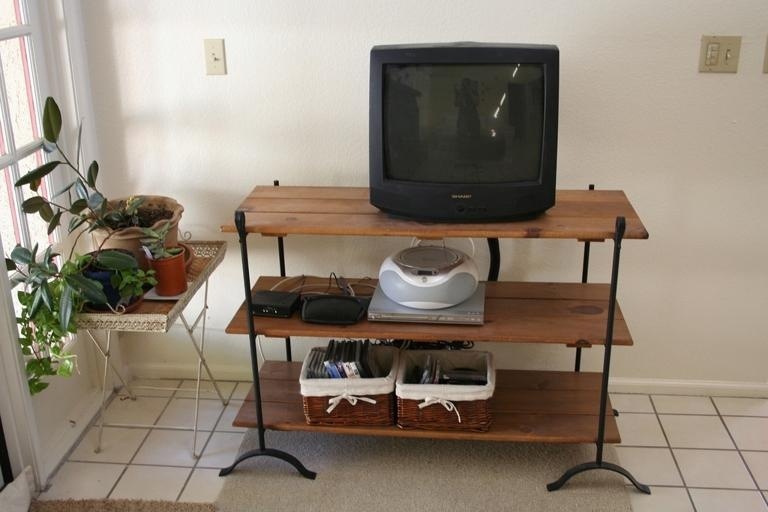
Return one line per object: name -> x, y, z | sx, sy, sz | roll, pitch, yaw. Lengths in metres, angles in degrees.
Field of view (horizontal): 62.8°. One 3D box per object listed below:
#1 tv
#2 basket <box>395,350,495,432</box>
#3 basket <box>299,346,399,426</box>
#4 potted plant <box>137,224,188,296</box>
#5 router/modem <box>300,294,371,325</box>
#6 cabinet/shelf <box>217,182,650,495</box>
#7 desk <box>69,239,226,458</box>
tv -> 0.266, -0.504, 2.627 | 0.829, 0.641, 0.477 | -2, 10, -16
basket -> 0.258, 0.590, 2.722 | 0.418, 0.214, 0.300 | -1, 30, 3
basket -> -0.155, 0.533, 2.805 | 0.325, 0.186, 0.396 | 1, 13, -2
potted plant -> -0.928, 0.027, 2.667 | 0.173, 0.277, 0.167 | -2, 13, 30
router/modem -> -0.208, 0.226, 2.631 | 0.282, 0.074, 0.166 | -2, 20, 1
cabinet/shelf -> 0.228, 0.360, 2.715 | 1.439, 0.896, 0.515 | 1, 36, 3
desk -> -0.994, 0.350, 2.930 | 0.619, 0.809, 1.092 | 3, 19, 2
